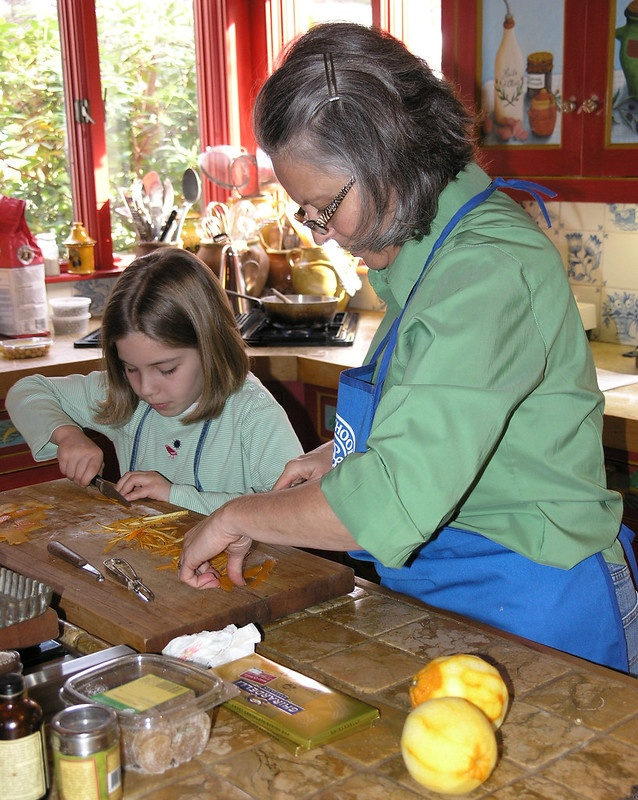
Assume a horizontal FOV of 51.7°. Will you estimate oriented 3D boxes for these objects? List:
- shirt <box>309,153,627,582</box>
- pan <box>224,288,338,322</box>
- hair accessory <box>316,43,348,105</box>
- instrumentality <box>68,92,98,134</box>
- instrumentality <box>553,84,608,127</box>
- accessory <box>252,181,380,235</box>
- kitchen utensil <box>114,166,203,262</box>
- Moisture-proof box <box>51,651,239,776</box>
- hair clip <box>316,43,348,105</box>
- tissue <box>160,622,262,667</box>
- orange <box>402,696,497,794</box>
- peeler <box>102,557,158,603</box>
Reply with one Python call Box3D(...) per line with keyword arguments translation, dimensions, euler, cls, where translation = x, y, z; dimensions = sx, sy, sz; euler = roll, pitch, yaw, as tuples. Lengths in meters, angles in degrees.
Box3D(translation=(0.202, -0.023, 0.861), dimensions=(0.231, 0.538, 0.428), euler=(5, 6, 41), cls="shirt")
Box3D(translation=(-0.145, -0.385, 2.870), dimensions=(0.422, 0.081, 0.203), euler=(0, 5, 21), cls="pan")
Box3D(translation=(0.013, -0.366, 0.749), dimensions=(0.023, 0.057, 0.013), euler=(1, 5, 2), cls="hair accessory")
Box3D(translation=(-1.175, -1.426, 3.264), dimensions=(0.102, 0.127, 0.026), euler=(-1, 5, -15), cls="instrumentality")
Box3D(translation=(0.870, -0.990, 2.218), dimensions=(0.056, 0.083, 0.139), euler=(-18, 10, -19), cls="instrumentality")
Box3D(translation=(0.018, -0.246, 0.841), dimensions=(0.073, 0.019, 0.072), euler=(-43, 16, -12), cls="accessory")
Box3D(translation=(-0.798, -0.888, 3.277), dimensions=(0.582, 0.456, 0.199), euler=(-1, -5, 7), cls="kitchen utensil")
Box3D(translation=(-0.160, 0.272, 0.618), dimensions=(0.129, 0.043, 0.115), euler=(11, 17, 35), cls="Moisture-proof box")
Box3D(translation=(0.013, -0.366, 0.749), dimensions=(0.023, 0.057, 0.013), euler=(1, 5, 2), cls="hair clip")
Box3D(translation=(-0.133, 0.304, 0.813), dimensions=(0.075, 0.015, 0.051), euler=(-13, 16, -27), cls="tissue")
Box3D(translation=(0.108, 0.294, 0.559), dimensions=(0.080, 0.063, 0.070), euler=(2, 4, 14), cls="orange")
Box3D(translation=(-0.300, 0.277, 1.022), dimensions=(0.040, 0.027, 0.146), euler=(-9, 17, -29), cls="peeler")
